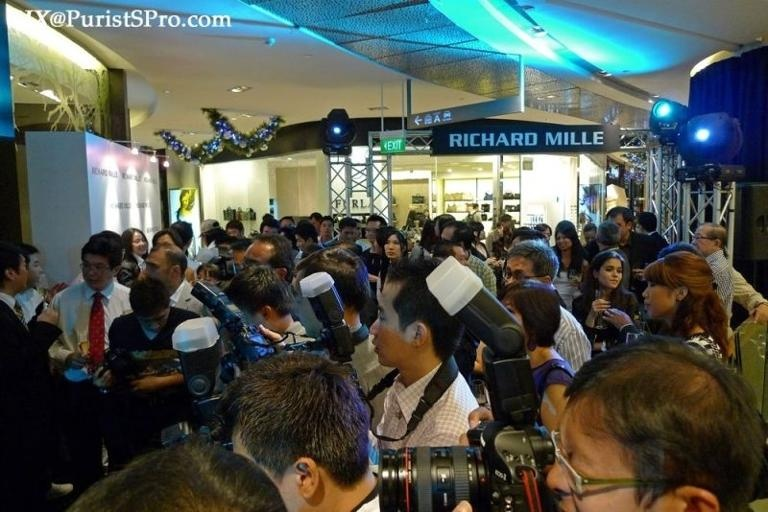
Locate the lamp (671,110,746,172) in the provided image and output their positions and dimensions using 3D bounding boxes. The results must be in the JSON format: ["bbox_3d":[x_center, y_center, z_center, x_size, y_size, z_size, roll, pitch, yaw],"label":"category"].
[{"bbox_3d":[3.880,-1.458,6.620,0.363,0.644,0.648,-30,32,-36],"label":"lamp"}]

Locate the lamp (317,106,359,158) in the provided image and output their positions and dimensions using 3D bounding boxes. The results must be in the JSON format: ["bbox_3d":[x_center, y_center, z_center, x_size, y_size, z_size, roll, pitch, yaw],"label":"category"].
[{"bbox_3d":[-0.688,-2.213,9.971,0.716,1.019,0.769,0,4,-1],"label":"lamp"}]

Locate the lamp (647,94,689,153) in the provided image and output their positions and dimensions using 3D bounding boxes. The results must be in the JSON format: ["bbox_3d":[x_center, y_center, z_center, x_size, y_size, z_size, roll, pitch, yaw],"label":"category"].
[{"bbox_3d":[3.575,-1.687,7.127,0.379,0.551,0.444,2,-7,26],"label":"lamp"}]

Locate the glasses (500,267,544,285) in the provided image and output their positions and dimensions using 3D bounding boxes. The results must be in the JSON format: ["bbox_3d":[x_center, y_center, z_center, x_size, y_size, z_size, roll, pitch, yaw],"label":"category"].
[{"bbox_3d":[0.948,0.141,3.862,0.236,0.089,0.232,7,0,-12],"label":"glasses"}]

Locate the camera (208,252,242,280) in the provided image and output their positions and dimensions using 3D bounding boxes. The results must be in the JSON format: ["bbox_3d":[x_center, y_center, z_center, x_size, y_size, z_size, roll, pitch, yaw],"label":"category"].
[{"bbox_3d":[-1.376,0.102,4.905,0.275,0.314,0.381,3,6,-4],"label":"camera"}]
